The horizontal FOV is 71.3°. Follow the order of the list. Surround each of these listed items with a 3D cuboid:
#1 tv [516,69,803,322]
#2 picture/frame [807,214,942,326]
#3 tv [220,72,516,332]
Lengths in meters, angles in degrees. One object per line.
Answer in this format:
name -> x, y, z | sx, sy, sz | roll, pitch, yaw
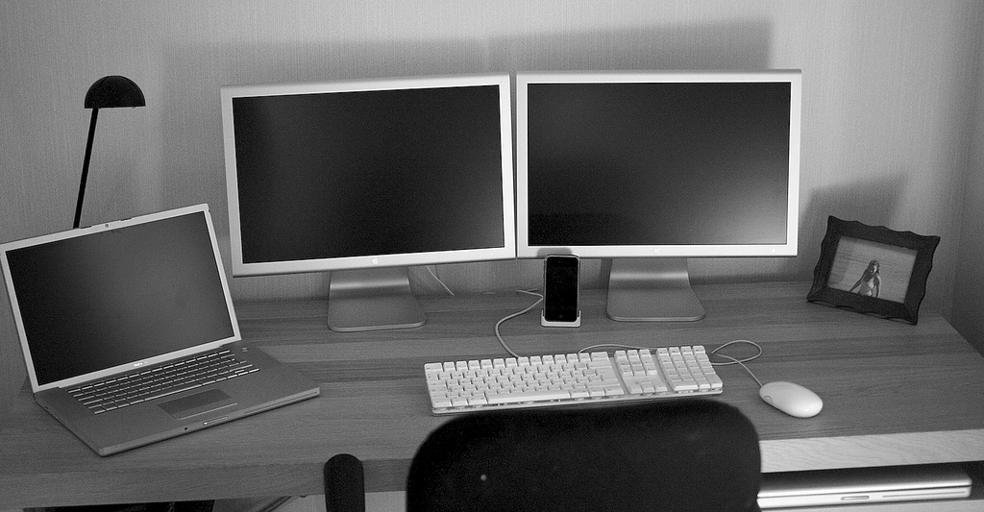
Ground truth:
tv -> 0.533, -0.224, 2.233 | 1.003, 0.704, 0.324 | -1, 11, -1
picture/frame -> 1.262, 0.052, 2.297 | 0.392, 0.293, 0.029 | 14, -10, 26
tv -> -0.403, -0.201, 2.197 | 0.996, 0.653, 0.265 | -2, 18, -5
